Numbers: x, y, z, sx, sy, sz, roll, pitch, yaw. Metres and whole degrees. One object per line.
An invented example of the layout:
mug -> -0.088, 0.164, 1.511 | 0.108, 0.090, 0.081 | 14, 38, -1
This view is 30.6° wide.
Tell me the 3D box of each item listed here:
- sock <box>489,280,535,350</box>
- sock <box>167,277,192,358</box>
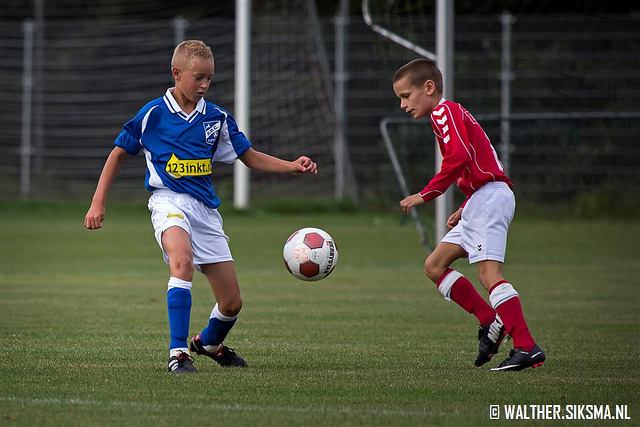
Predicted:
sock -> 2.263, 1.176, 13.814 | 0.556, 0.776, 0.188 | 3, 11, 12
sock -> -1.650, 1.256, 13.761 | 0.301, 1.167, 0.351 | 4, -13, -22
